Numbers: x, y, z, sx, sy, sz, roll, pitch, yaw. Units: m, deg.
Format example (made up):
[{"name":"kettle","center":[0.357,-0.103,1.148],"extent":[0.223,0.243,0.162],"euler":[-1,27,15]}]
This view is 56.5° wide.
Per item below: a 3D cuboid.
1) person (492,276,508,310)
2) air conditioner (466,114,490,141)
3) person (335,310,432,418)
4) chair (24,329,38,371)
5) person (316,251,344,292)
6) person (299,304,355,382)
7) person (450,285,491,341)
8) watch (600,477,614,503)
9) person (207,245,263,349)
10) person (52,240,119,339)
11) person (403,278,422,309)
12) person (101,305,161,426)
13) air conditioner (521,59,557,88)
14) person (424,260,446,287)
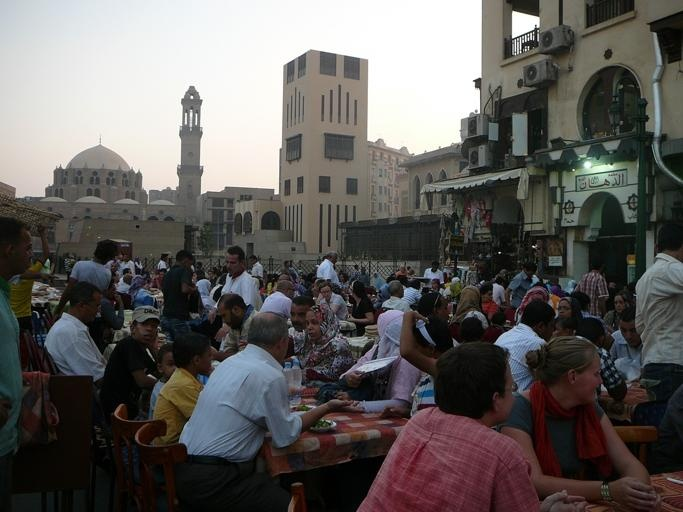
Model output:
[{"name":"person","center":[3.516,0.836,14.185],"extent":[0.351,0.815,0.438],"euler":[9,27,37]},{"name":"air conditioner","center":[5.091,-4.925,24.151],"extent":[0.471,0.971,1.038],"euler":[0,-1,-34]},{"name":"person","center":[0.372,1.067,6.361],"extent":[0.606,0.946,0.901],"euler":[9,-1,-24]},{"name":"chair","center":[-2.910,0.889,5.921],"extent":[0.149,0.366,0.340],"euler":[0,-7,-16]},{"name":"person","center":[-0.224,0.641,15.757],"extent":[0.416,1.344,0.587],"euler":[-11,3,-17]},{"name":"person","center":[-0.104,0.953,6.923],"extent":[0.680,1.029,0.677],"euler":[3,-6,-36]},{"name":"person","center":[1.845,0.836,9.142],"extent":[0.555,0.768,1.508],"euler":[-1,-1,11]},{"name":"watch","center":[1.767,1.581,4.258],"extent":[0.041,0.109,0.097],"euler":[-10,-3,11]},{"name":"person","center":[-1.438,0.813,9.160],"extent":[0.594,1.786,0.708],"euler":[-18,18,-29]},{"name":"person","center":[-3.671,0.716,9.081],"extent":[0.675,1.938,0.521],"euler":[10,-4,-10]},{"name":"person","center":[1.425,0.762,12.496],"extent":[0.393,0.432,1.035],"euler":[5,-22,5]},{"name":"person","center":[-2.108,1.411,6.464],"extent":[0.620,1.712,0.557],"euler":[1,0,-16]},{"name":"air conditioner","center":[6.538,-6.003,21.002],"extent":[0.709,0.962,1.327],"euler":[-1,-2,-21]},{"name":"person","center":[3.308,0.618,22.550],"extent":[0.707,0.526,1.585],"euler":[-5,-43,3]}]
